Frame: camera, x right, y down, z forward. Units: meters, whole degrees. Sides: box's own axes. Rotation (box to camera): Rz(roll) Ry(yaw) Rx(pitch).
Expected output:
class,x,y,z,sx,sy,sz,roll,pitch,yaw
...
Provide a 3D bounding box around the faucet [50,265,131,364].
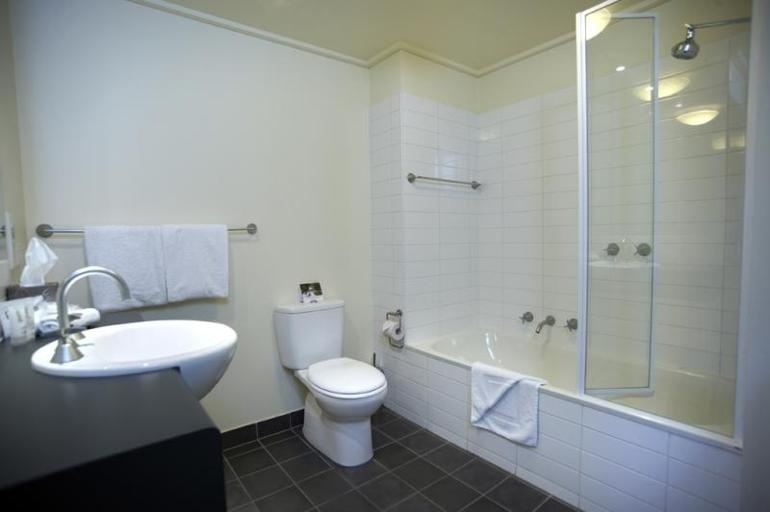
class,x,y,z,sx,sy,sz,roll,pitch,yaw
faucet,-1.233,0.233,2.034,0.281,0.404,0.310,-1,18,-25

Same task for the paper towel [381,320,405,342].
class,x,y,z,sx,sy,sz,roll,pitch,yaw
paper towel,0.057,0.527,3.639,0.135,0.146,0.173,-21,13,-27

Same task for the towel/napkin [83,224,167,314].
class,x,y,z,sx,sy,sz,roll,pitch,yaw
towel/napkin,-1.510,0.040,2.858,0.484,0.602,0.152,-8,7,-29

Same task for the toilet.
class,x,y,z,sx,sy,sz,roll,pitch,yaw
toilet,-0.335,0.836,3.321,0.545,0.930,0.878,-5,9,-39

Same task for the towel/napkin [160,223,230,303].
class,x,y,z,sx,sy,sz,roll,pitch,yaw
towel/napkin,-1.099,0.033,2.916,0.431,0.436,0.130,-6,6,-34

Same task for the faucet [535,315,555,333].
class,x,y,z,sx,sy,sz,roll,pitch,yaw
faucet,1.171,0.492,3.580,0.164,0.089,0.095,-16,15,-36
